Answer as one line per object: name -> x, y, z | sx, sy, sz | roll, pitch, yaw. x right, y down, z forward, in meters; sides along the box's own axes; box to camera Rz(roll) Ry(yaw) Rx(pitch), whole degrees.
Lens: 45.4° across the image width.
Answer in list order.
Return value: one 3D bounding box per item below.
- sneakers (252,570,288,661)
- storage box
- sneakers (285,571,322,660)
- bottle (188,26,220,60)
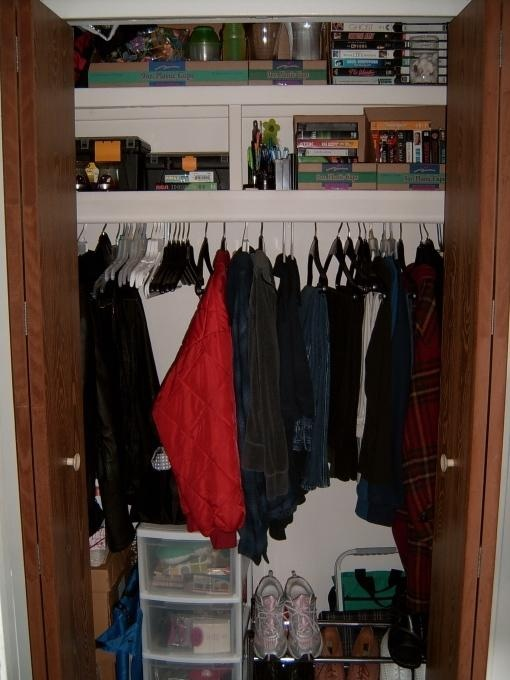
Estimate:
sneakers -> 0.049, 0.918, 2.018 | 0.111, 0.190, 0.273 | -4, 8, 2
storage box -> -0.469, 0.886, 1.943 | 0.120, 0.365, 0.285 | -2, -4, 2
sneakers -> 0.158, 0.905, 2.018 | 0.112, 0.182, 0.264 | -4, 8, 1
bottle -> -0.169, -0.967, 2.009 | 0.075, 0.121, 0.102 | -1, 11, -3
